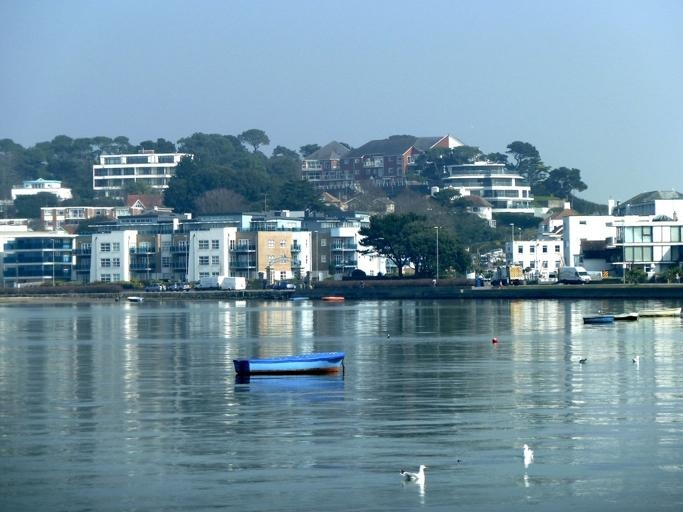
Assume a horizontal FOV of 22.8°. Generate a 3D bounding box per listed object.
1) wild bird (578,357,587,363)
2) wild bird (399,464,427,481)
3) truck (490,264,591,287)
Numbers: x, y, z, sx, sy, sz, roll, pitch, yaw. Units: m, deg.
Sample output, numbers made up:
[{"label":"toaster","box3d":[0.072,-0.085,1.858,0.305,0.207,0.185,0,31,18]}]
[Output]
[{"label":"wild bird","box3d":[15.434,6.702,109.247,0.283,0.296,0.454,0,-11,2]},{"label":"wild bird","box3d":[3.623,11.124,88.023,1.325,0.689,1.366,-1,9,1]},{"label":"truck","box3d":[22.818,2.275,195.678,10.746,2.162,2.483,-1,2,10]}]
